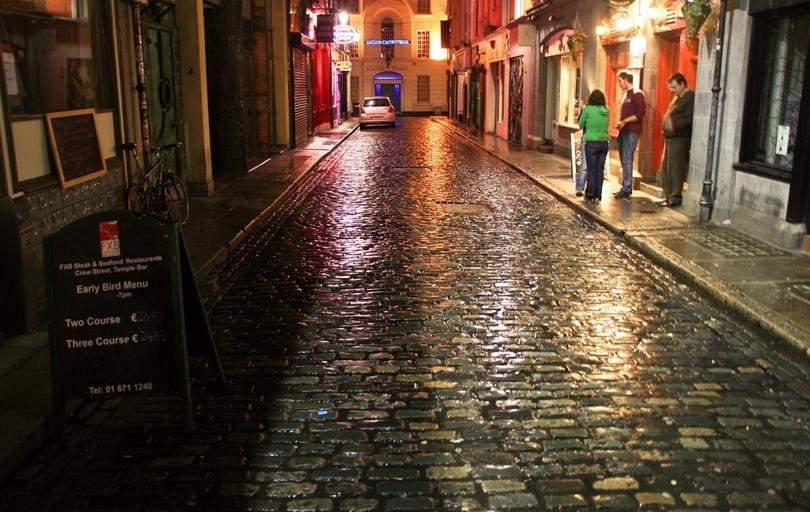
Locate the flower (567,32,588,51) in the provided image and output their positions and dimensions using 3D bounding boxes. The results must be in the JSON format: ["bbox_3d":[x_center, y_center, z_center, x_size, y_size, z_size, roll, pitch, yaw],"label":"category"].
[{"bbox_3d":[5.295,-6.583,18.193,0.671,0.737,0.653,0,15,1],"label":"flower"}]

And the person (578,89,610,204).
[{"bbox_3d":[4.020,-2.349,12.582,0.587,2.276,0.599,12,19,42],"label":"person"}]

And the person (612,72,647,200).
[{"bbox_3d":[4.935,-2.680,13.054,0.502,2.686,0.712,2,14,9],"label":"person"}]

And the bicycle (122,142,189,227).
[{"bbox_3d":[-4.255,-1.173,10.110,1.989,1.239,0.997,0,14,42],"label":"bicycle"}]

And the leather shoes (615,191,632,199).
[{"bbox_3d":[4.848,-1.362,13.135,0.345,0.162,0.149,2,16,1],"label":"leather shoes"}]

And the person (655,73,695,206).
[{"bbox_3d":[5.533,-2.363,12.059,0.556,2.607,0.532,6,15,23],"label":"person"}]
